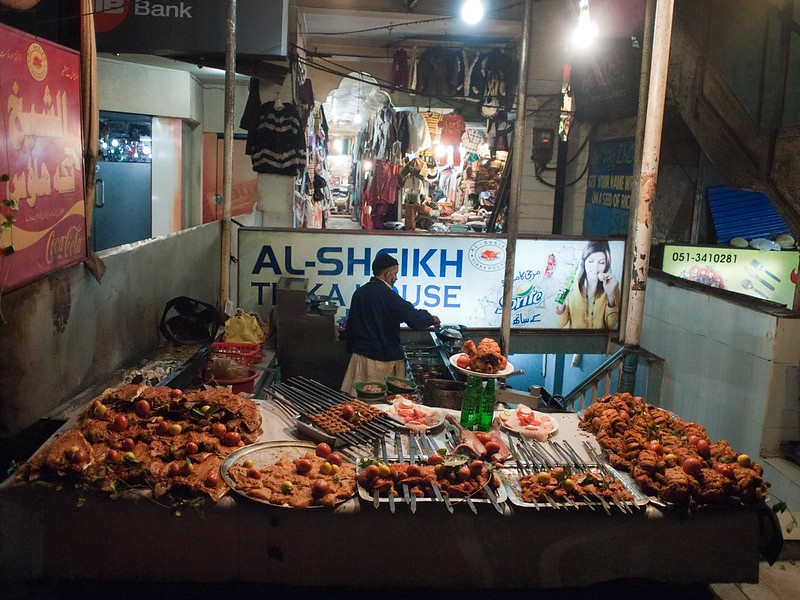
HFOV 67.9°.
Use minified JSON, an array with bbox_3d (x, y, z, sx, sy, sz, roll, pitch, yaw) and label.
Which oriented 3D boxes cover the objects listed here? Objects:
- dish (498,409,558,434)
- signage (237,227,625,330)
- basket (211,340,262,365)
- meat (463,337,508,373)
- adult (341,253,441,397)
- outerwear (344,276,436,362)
[{"bbox_3d":[0.951,0.902,4.494,0.226,0.057,0.240,9,14,35],"label":"dish"},{"bbox_3d":[0.372,-0.337,8.303,5.530,1.395,0.180,2,6,0],"label":"signage"},{"bbox_3d":[-1.759,0.547,6.364,0.388,0.134,0.275,2,11,-12],"label":"basket"},{"bbox_3d":[0.659,0.438,4.829,0.281,0.114,0.279,-13,29,-37],"label":"meat"},{"bbox_3d":[-0.205,0.580,6.700,1.097,2.074,0.844,8,13,22],"label":"adult"},{"bbox_3d":[-0.124,0.146,6.724,1.153,1.001,0.821,16,22,43],"label":"outerwear"}]
